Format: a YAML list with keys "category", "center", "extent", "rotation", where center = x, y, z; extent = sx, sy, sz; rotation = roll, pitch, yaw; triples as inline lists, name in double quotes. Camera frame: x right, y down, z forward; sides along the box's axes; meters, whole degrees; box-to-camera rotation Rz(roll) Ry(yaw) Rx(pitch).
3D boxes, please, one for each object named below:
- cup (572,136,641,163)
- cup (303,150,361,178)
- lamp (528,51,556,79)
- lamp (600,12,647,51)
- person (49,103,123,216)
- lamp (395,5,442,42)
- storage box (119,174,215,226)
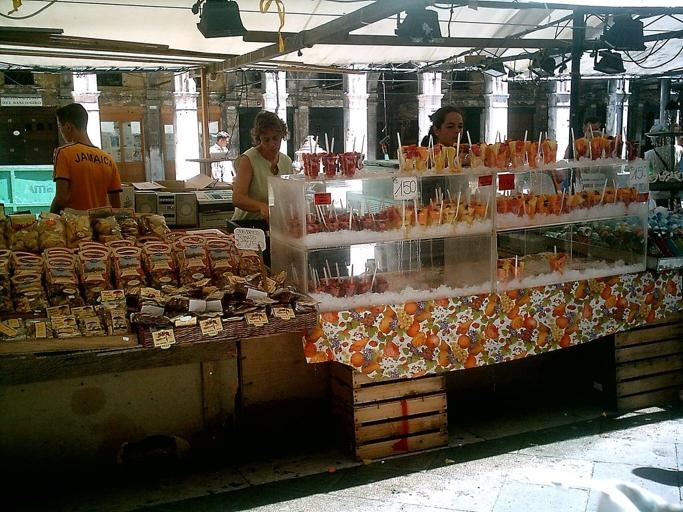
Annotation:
- category: "cup"
  center: [2.159, -0.885, 4.717]
  extent: [0.407, 0.123, 0.272]
  rotation: [-2, 7, -6]
- category: "cup"
  center: [-0.059, -0.646, 3.976]
  extent: [0.345, 0.110, 0.235]
  rotation: [-7, 9, -39]
- category: "lamp"
  center: [3.493, -3.345, 9.920]
  extent: [0.618, 0.477, 0.424]
  rotation: [4, 21, 20]
- category: "lamp"
  center: [3.364, -2.650, 6.874]
  extent: [0.513, 0.388, 0.461]
  rotation: [-1, 6, -3]
- category: "person"
  center: [-2.267, -0.876, 5.021]
  extent: [0.711, 0.934, 0.424]
  rotation: [-13, 16, -43]
- category: "lamp"
  center: [0.765, -2.369, 5.878]
  extent: [0.431, 0.336, 0.365]
  rotation: [-2, 11, -3]
- category: "storage box"
  center: [-2.348, -0.711, 7.294]
  extent: [0.653, 0.467, 1.043]
  rotation: [-3, 8, -32]
